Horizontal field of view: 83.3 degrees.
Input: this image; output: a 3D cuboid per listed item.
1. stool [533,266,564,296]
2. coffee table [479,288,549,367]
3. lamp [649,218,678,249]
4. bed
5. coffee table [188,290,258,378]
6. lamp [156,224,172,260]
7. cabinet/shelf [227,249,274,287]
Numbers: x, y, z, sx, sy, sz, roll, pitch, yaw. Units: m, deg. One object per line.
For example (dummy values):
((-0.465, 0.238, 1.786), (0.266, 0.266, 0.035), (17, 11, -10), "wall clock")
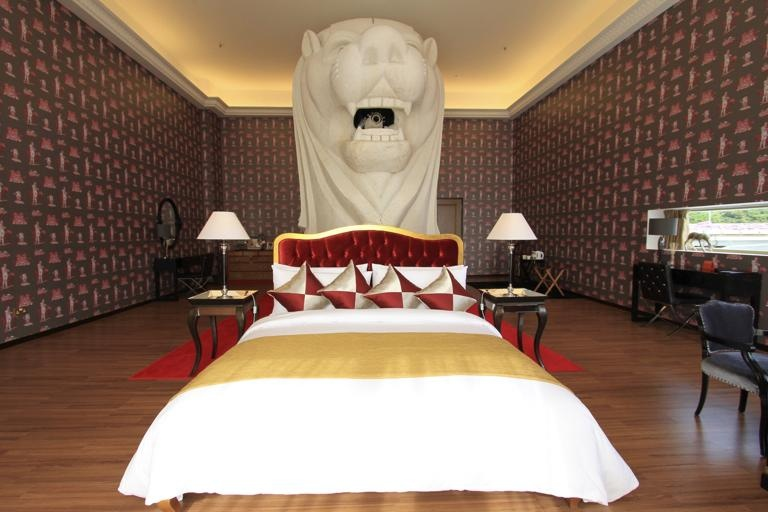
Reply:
((3.236, 0.502, 8.506), (0.541, 0.620, 0.871), (1, 1, 5), "stool")
((1.348, 0.751, 4.639), (0.594, 0.767, 0.715), (-3, 5, -10), "coffee table")
((3.800, -0.306, 5.940), (0.416, 0.472, 0.403), (-3, 3, -44), "lamp")
((-0.060, 0.874, 3.691), (2.229, 1.078, 2.406), (-1, 3, 0), "bed")
((-1.682, 0.810, 4.602), (0.553, 0.706, 0.846), (0, -3, -6), "coffee table")
((-3.836, -0.246, 7.616), (0.301, 0.565, 0.187), (-3, -5, -25), "lamp")
((-2.756, 0.257, 8.844), (0.783, 0.609, 0.407), (0, 6, -1), "cabinet/shelf")
